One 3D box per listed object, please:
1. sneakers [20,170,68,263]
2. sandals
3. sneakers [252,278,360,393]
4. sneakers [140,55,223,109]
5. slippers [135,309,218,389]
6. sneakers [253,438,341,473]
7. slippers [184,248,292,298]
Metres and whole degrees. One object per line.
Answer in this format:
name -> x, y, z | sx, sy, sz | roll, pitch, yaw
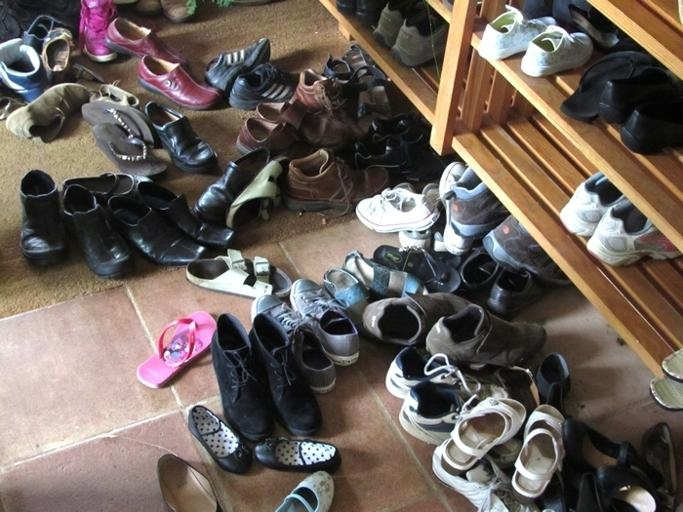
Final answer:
sneakers -> -1.182, -0.130, 2.265 | 0.163, 0.154, 0.388 | -11, 79, -19
sandals -> 0.514, 0.585, 1.764 | 0.283, 0.117, 0.382 | 33, 80, 16
sneakers -> -0.113, 0.257, 2.086 | 0.295, 0.133, 0.400 | -27, 68, -21
sneakers -> -0.858, -0.904, 2.940 | 0.440, 0.183, 0.199 | 21, 42, 1
slippers -> -0.587, 0.347, 2.126 | 0.332, 0.089, 0.169 | -40, 72, -22
sneakers -> -0.147, 0.641, 1.848 | 0.286, 0.086, 0.115 | 3, 58, -13
slippers -> -0.414, 0.081, 2.257 | 0.377, 0.115, 0.199 | 11, 49, -1
